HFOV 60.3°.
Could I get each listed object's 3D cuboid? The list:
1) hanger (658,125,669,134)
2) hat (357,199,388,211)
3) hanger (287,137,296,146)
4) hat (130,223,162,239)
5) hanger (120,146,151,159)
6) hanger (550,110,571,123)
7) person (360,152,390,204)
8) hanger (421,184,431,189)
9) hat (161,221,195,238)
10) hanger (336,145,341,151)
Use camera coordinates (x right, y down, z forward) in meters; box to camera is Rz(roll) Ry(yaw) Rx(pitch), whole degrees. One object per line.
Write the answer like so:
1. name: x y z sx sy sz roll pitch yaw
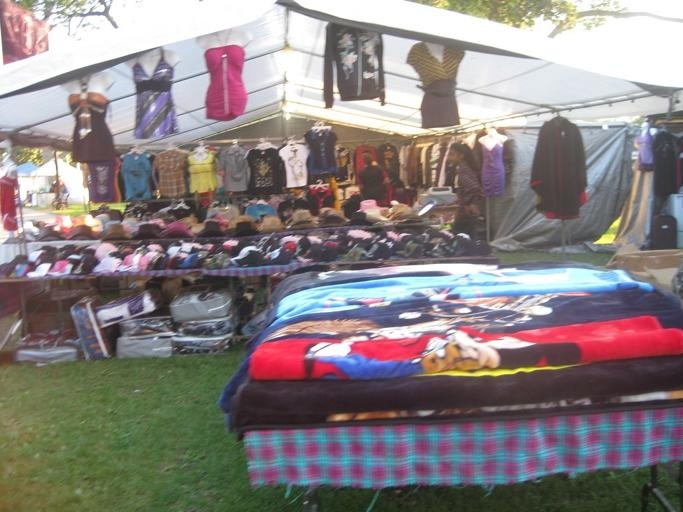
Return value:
1. hanger: 4.411 -1.741 8.124 0.148 0.110 0.032 -6 16 22
2. hat: 0.381 -0.695 8.203 0.381 0.157 0.364 -1 1 4
3. hanger: -0.809 -1.852 9.508 0.145 0.070 0.211 11 16 1
4. hat: -2.388 -0.310 7.378 0.281 0.092 0.278 2 9 6
5. hanger: -3.373 -1.692 9.625 0.540 0.147 0.232 -5 21 -5
6. hanger: 2.858 -1.825 7.742 0.404 0.141 0.448 1 15 13
7. person: 0.535 -1.353 10.530 0.466 0.916 0.462 -15 15 -37
8. hanger: 1.529 -1.279 10.756 0.131 0.071 0.111 -1 7 -1
9. hat: -2.063 -0.333 7.476 0.358 0.087 0.088 2 -32 3
10. hanger: -0.063 -2.009 10.936 0.029 0.084 0.105 -2 2 13
